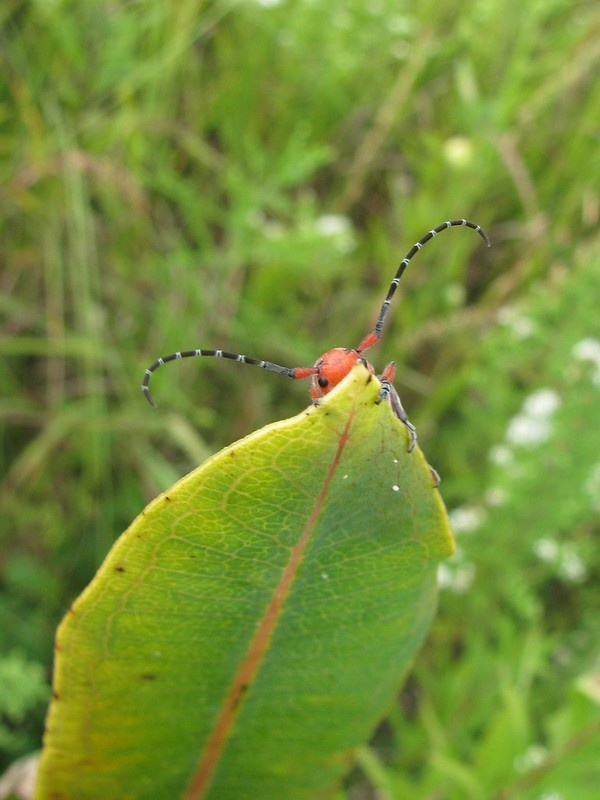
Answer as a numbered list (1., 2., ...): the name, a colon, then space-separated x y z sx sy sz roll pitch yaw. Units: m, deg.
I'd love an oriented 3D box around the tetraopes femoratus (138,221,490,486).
1. tetraopes femoratus: 0.021 -0.028 0.769 0.292 0.126 0.069 -10 93 -6
